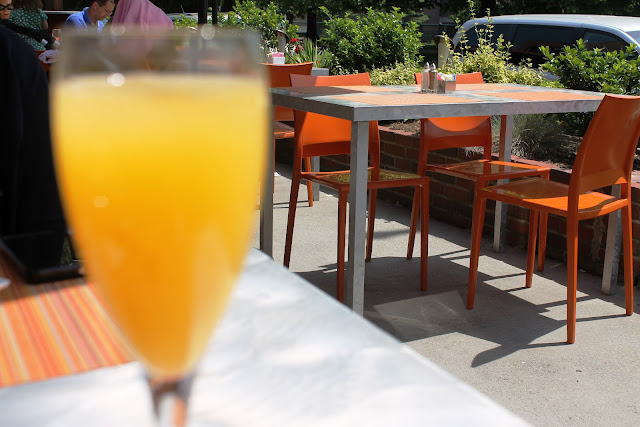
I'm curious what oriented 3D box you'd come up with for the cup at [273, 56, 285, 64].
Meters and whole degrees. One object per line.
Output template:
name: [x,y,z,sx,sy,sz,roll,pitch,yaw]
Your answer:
cup: [-0.420,-1.565,5.107,0.105,0.075,0.097,0,12,0]
